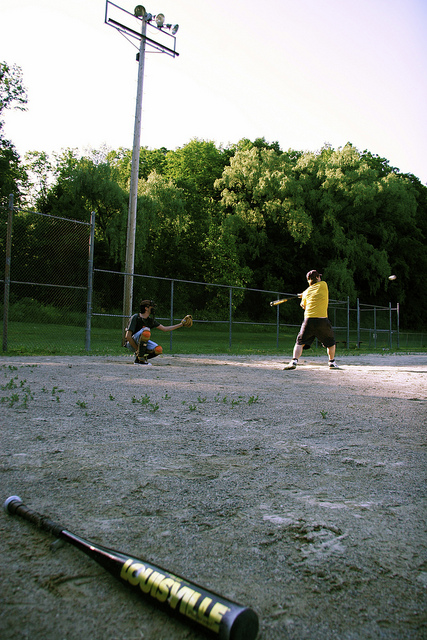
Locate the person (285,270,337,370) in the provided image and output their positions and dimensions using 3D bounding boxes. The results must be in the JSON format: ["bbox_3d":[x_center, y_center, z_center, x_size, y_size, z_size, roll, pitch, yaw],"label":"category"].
[{"bbox_3d":[1.629,-0.043,9.178,0.776,1.457,2.040,4,-1,10],"label":"person"}]

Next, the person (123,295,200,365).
[{"bbox_3d":[-0.854,0.199,8.777,1.013,0.989,0.667,9,-8,-10],"label":"person"}]
